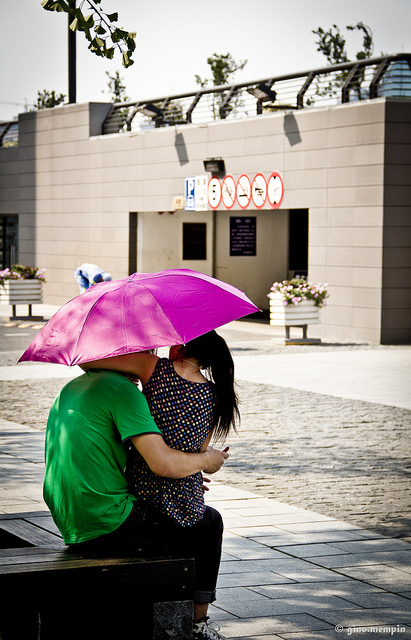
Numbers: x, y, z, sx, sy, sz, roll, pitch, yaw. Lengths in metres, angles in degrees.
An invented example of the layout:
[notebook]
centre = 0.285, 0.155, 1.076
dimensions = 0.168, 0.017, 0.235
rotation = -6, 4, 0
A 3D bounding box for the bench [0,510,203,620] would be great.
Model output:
[bench]
centre = -0.495, 0.838, 3.907
dimensions = 0.633, 0.256, 0.875
rotation = 0, 2, -22

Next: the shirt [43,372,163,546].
[shirt]
centre = -0.361, 0.481, 3.680
dimensions = 0.378, 0.604, 0.273
rotation = 0, 2, -5

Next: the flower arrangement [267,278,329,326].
[flower arrangement]
centre = 1.385, -0.247, 16.553
dimensions = 0.843, 0.712, 0.587
rotation = -5, 11, -25
